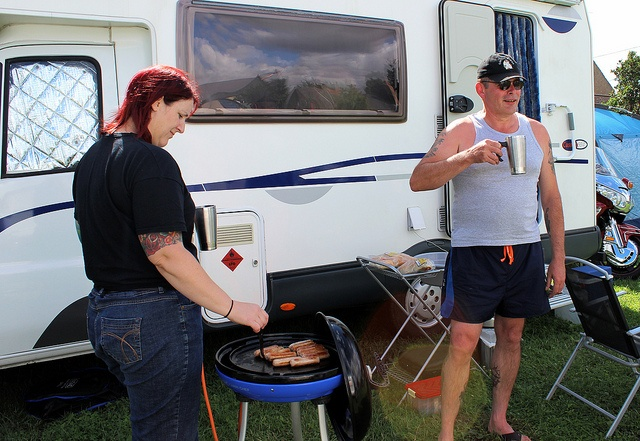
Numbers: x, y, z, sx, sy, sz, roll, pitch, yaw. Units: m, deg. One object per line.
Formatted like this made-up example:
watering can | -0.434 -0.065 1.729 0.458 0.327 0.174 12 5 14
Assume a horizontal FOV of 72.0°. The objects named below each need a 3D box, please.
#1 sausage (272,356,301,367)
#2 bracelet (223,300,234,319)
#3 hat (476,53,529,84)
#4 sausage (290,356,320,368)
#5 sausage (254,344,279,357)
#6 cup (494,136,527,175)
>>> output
sausage | -0.187 0.737 2.340 0.174 0.054 0.051 -1 -1 -29
bracelet | -0.435 0.430 2.111 0.017 0.069 0.071 17 2 -8
hat | 1.255 -1.029 3.017 0.275 0.194 0.378 0 8 -4
sausage | -0.083 0.731 2.307 0.110 0.034 0.059 -2 3 -21
sausage | -0.299 0.731 2.449 0.086 0.027 0.090 -13 3 14
cup | 1.190 -0.403 2.664 0.143 0.240 0.228 -5 0 -20
